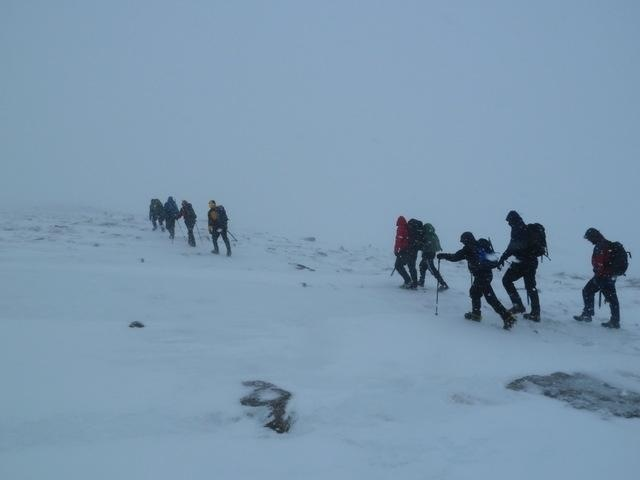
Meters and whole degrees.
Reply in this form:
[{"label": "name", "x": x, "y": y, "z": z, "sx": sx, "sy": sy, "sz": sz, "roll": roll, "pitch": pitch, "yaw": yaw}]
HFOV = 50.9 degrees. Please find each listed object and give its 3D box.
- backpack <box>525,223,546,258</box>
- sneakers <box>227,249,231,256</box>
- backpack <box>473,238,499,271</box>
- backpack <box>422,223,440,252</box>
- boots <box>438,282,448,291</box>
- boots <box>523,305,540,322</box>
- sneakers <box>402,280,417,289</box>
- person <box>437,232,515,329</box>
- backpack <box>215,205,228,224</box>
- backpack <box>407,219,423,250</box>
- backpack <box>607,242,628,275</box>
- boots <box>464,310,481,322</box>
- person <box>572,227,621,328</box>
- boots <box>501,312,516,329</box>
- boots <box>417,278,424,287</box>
[{"label": "backpack", "x": 4.498, "y": 0.018, "z": 13.947, "sx": 0.451, "sy": 0.736, "sz": 0.276, "roll": 3, "pitch": 9, "yaw": -1}, {"label": "sneakers", "x": -2.558, "y": 0.376, "z": 18.961, "sx": 0.120, "sy": 0.259, "sz": 0.177, "roll": -1, "pitch": -1, "yaw": 9}, {"label": "backpack", "x": 3.316, "y": 0.309, "z": 13.544, "sx": 0.518, "sy": 0.257, "sz": 0.727, "roll": -5, "pitch": 41, "yaw": -5}, {"label": "backpack", "x": 2.524, "y": 0.003, "z": 15.550, "sx": 0.331, "sy": 0.574, "sz": 0.532, "roll": -14, "pitch": 4, "yaw": 18}, {"label": "boots", "x": 2.976, "y": 1.139, "z": 16.286, "sx": 0.221, "sy": 0.087, "sz": 0.198, "roll": 0, "pitch": 5, "yaw": 10}, {"label": "boots", "x": 4.430, "y": 1.566, "z": 14.130, "sx": 0.355, "sy": 0.370, "sz": 0.182, "roll": 17, "pitch": 10, "yaw": 39}, {"label": "sneakers", "x": 2.166, "y": 1.107, "z": 16.362, "sx": 0.388, "sy": 0.181, "sz": 0.138, "roll": 3, "pitch": -2, "yaw": 5}, {"label": "person", "x": 3.260, "y": 0.785, "z": 13.632, "sx": 1.495, "sy": 1.763, "sz": 0.876, "roll": 9, "pitch": 11, "yaw": 28}, {"label": "backpack", "x": -2.737, "y": -0.654, "z": 18.579, "sx": 0.309, "sy": 0.579, "sz": 0.535, "roll": 2, "pitch": 10, "yaw": -10}, {"label": "backpack", "x": 2.259, "y": -0.097, "z": 16.085, "sx": 0.474, "sy": 0.737, "sz": 0.280, "roll": -3, "pitch": 11, "yaw": -34}, {"label": "backpack", "x": 6.219, "y": 0.283, "z": 14.049, "sx": 0.345, "sy": 0.743, "sz": 0.506, "roll": -2, "pitch": 25, "yaw": 23}, {"label": "boots", "x": 3.102, "y": 1.554, "z": 13.676, "sx": 0.275, "sy": 0.148, "sz": 0.159, "roll": 5, "pitch": 5, "yaw": 8}, {"label": "person", "x": 5.962, "y": 0.800, "z": 14.253, "sx": 0.686, "sy": 2.030, "sz": 1.077, "roll": 1, "pitch": 10, "yaw": -14}, {"label": "boots", "x": 3.755, "y": 1.602, "z": 13.308, "sx": 0.298, "sy": 0.300, "sz": 0.272, "roll": 4, "pitch": 9, "yaw": 0}, {"label": "boots", "x": 2.494, "y": 1.080, "z": 16.674, "sx": 0.152, "sy": 0.166, "sz": 0.294, "roll": -3, "pitch": -12, "yaw": 9}]
